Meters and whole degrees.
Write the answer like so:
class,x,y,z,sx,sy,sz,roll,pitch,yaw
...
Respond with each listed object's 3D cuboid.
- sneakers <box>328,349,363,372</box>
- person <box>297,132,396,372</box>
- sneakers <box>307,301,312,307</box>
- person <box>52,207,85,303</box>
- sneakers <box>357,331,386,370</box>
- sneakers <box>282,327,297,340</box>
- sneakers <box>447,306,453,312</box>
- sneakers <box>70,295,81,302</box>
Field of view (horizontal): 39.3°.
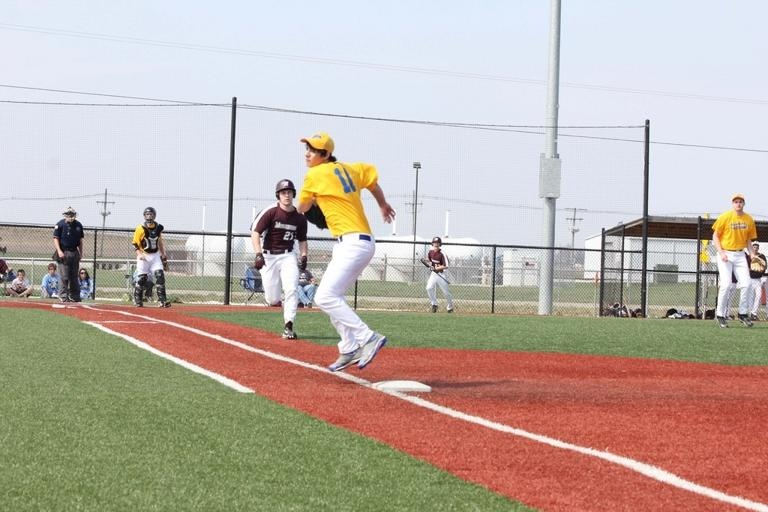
class,x,y,z,sx,sy,sz,roll,pitch,yaw
sneakers,-0.469,1.260,12.967,0.495,0.201,0.176,-28,-16,5
person,-0.513,-0.026,12.834,1.132,2.678,0.552,3,-1,-1
sneakers,-1.713,1.115,24.618,0.157,0.139,0.081,1,-7,-7
person,-6.505,-0.007,22.020,0.596,1.974,0.748,3,-1,-16
sneakers,-0.146,1.121,12.877,0.247,0.548,0.201,35,5,-9
sneakers,-1.427,1.158,15.985,0.119,0.177,0.301,1,-4,-38
sneakers,1.564,1.294,25.820,0.146,0.048,0.142,1,18,15
sneakers,-6.421,0.904,22.373,0.173,0.111,0.120,4,-38,-4
